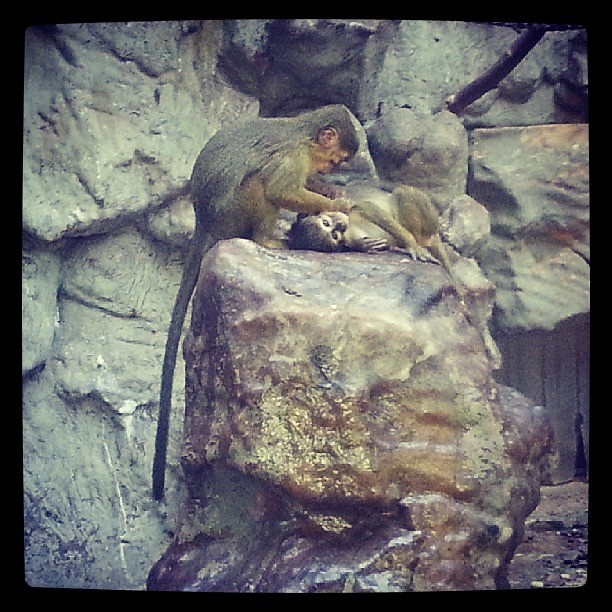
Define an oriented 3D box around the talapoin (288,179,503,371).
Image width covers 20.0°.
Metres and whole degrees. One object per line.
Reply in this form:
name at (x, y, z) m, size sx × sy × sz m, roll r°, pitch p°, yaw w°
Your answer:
talapoin at (0.289, -0.101, 5.637) m, size 0.686 × 0.591 × 0.031 m, roll 1°, pitch -4°, yaw -1°
